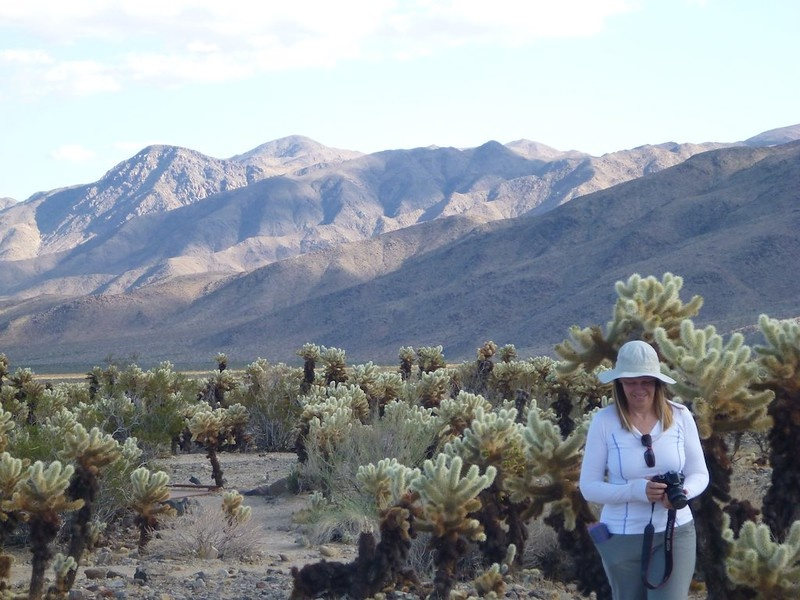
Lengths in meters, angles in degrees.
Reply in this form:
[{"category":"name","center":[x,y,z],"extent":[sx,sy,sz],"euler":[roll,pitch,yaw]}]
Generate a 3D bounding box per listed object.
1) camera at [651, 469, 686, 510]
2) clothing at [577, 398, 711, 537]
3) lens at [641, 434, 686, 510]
[{"category":"camera","center":[2.383,1.704,9.700],"extent":[0.281,0.318,0.205],"euler":[-8,-29,-3]},{"category":"clothing","center":[2.098,1.533,10.248],"extent":[1.473,1.513,1.015],"euler":[-1,-6,-2]},{"category":"lens","center":[2.384,1.535,9.730],"extent":[0.224,0.575,0.446],"euler":[0,-34,-38]}]
